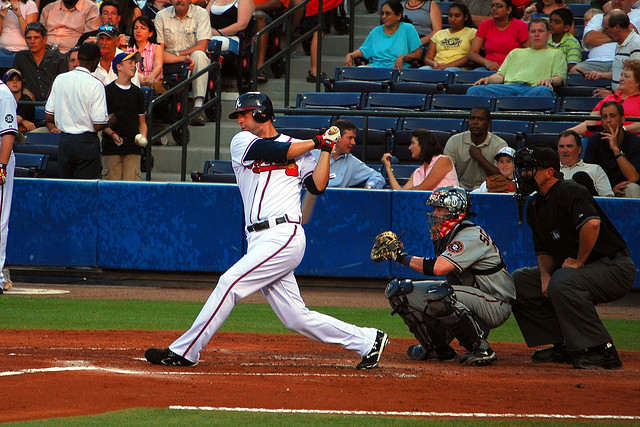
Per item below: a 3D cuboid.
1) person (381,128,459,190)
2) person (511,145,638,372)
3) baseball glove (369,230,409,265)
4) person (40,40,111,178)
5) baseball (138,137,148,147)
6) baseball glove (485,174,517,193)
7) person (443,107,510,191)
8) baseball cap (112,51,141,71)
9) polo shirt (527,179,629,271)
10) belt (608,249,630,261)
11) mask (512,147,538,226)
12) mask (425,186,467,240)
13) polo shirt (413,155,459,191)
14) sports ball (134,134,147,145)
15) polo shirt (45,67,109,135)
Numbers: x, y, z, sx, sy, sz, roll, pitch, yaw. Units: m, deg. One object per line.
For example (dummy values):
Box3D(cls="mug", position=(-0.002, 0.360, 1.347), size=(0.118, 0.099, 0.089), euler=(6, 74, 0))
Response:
Box3D(cls="person", position=(1.453, -0.599, 16.388), size=(1.129, 1.129, 0.885), euler=(-5, -6, 24))
Box3D(cls="person", position=(2.939, 0.495, 13.453), size=(1.419, 2.525, 0.746), euler=(4, 4, 12))
Box3D(cls="baseball glove", position=(0.817, 0.398, 13.386), size=(0.446, 0.346, 0.340), euler=(-16, 10, 8))
Box3D(cls="person", position=(-3.460, -1.473, 16.541), size=(0.834, 1.936, 0.517), euler=(2, 4, -5))
Box3D(cls="baseball", position=(-2.592, -1.064, 16.935), size=(0.115, 0.112, 0.154), euler=(3, 3, 1))
Box3D(cls="baseball glove", position=(2.565, -0.423, 16.205), size=(0.404, 0.258, 0.290), euler=(3, 3, 7))
Box3D(cls="person", position=(2.261, -0.887, 16.462), size=(1.046, 1.258, 0.996), euler=(4, 0, 26))
Box3D(cls="baseball cap", position=(-2.904, -2.279, 17.159), size=(0.356, 0.137, 0.235), euler=(-26, -1, 24))
Box3D(cls="polo shirt", position=(2.987, 0.135, 13.439), size=(1.092, 1.052, 0.445), euler=(3, 4, 8))
Box3D(cls="belt", position=(3.498, 0.478, 13.458), size=(0.138, 0.053, 0.135), euler=(-20, 0, -44))
Box3D(cls="mask", position=(2.448, -0.311, 13.637), size=(0.335, 0.915, 0.406), euler=(0, 2, 43))
Box3D(cls="mask", position=(1.560, -0.032, 13.549), size=(0.532, 0.638, 0.519), euler=(0, 2, 13))
Box3D(cls="polo shirt", position=(1.668, -0.605, 16.233), size=(0.639, 0.576, 0.387), euler=(4, 0, 6))
Box3D(cls="sports ball", position=(-2.631, -1.090, 16.952), size=(0.136, 0.175, 0.164), euler=(-22, -17, -15))
Box3D(cls="polo shirt", position=(-3.510, -1.600, 16.538), size=(1.078, 1.040, 0.639), euler=(-1, -2, 40))
